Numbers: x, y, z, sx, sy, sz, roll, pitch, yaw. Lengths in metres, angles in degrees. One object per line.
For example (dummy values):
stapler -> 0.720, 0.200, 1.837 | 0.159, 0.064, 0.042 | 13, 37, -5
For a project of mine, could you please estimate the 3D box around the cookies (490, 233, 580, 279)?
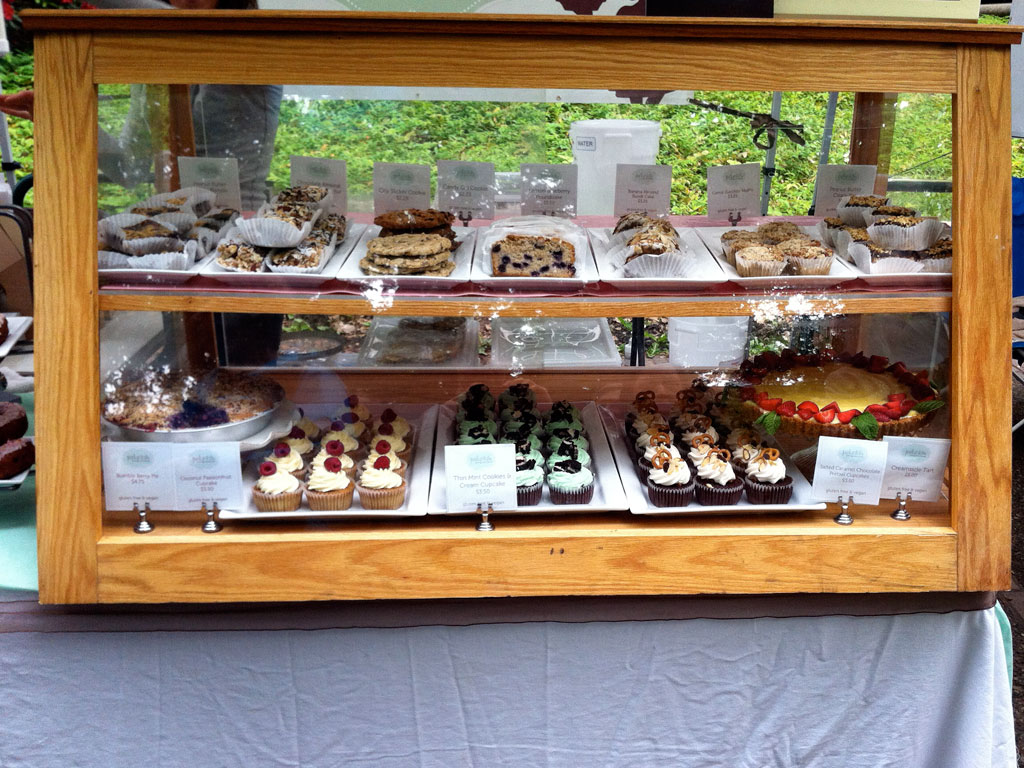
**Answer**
cookies -> 0.051, -0.293, 1.930 | 0.196, 0.039, 0.110 | 0, 21, 0

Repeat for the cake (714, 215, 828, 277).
cake -> 0.632, -0.329, 1.993 | 0.236, 0.041, 0.170 | 1, 25, 1

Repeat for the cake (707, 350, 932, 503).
cake -> 0.768, 0.100, 2.077 | 0.515, 0.107, 0.437 | 6, 14, 25

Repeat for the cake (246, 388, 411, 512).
cake -> -0.425, 0.148, 2.001 | 0.323, 0.076, 0.279 | 0, 24, -2
